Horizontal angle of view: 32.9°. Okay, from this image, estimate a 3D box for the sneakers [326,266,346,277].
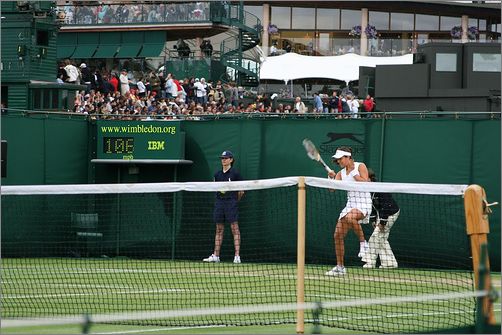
[{"bbox_3d":[1.968,2.416,19.896,0.515,0.264,0.204,-1,-1,18],"label":"sneakers"}]

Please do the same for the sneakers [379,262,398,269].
[{"bbox_3d":[3.392,2.372,20.613,0.380,0.147,0.270,3,-4,-40],"label":"sneakers"}]

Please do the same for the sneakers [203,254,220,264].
[{"bbox_3d":[-0.980,2.259,21.122,0.505,0.271,0.197,0,-2,15],"label":"sneakers"}]

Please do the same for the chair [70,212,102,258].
[{"bbox_3d":[-4.330,1.748,22.231,0.796,1.583,0.869,4,-14,-19],"label":"chair"}]

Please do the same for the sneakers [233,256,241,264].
[{"bbox_3d":[-0.357,2.287,21.045,0.181,0.197,0.198,1,-7,-1],"label":"sneakers"}]

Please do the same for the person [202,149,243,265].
[{"bbox_3d":[-0.616,0.990,21.578,0.872,2.757,1.525,-1,5,-1],"label":"person"}]

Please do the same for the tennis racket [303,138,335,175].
[{"bbox_3d":[1.642,-0.325,21.226,0.077,0.373,1.338,-2,43,-43],"label":"tennis racket"}]
